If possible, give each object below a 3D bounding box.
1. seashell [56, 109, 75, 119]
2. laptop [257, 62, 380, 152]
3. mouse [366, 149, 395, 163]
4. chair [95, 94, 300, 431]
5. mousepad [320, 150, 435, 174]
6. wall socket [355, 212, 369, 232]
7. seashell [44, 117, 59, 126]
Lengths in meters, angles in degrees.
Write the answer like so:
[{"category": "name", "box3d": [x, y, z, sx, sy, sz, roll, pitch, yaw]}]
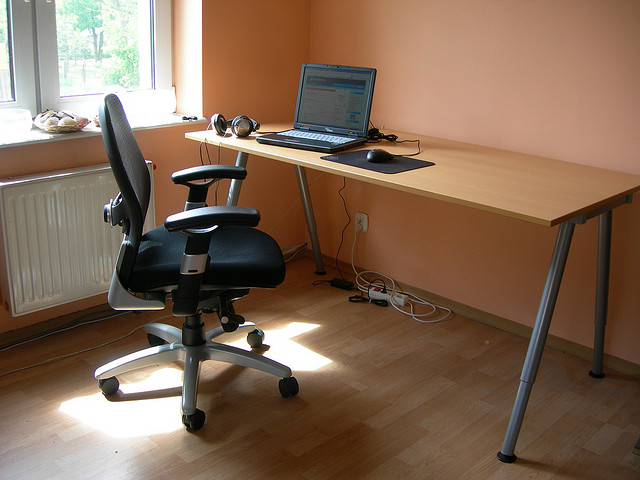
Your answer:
[{"category": "seashell", "box3d": [-1.241, -0.615, 2.422, 0.066, 0.016, 0.068, 4, 15, -16]}, {"category": "laptop", "box3d": [-0.030, -0.649, 2.423, 0.495, 0.330, 0.439, 20, 35, 39]}, {"category": "mouse", "box3d": [0.248, -0.366, 2.124, 0.097, 0.033, 0.054, -13, 29, -32]}, {"category": "chair", "box3d": [-0.475, 0.057, 2.051, 0.838, 1.105, 0.816, 8, 14, 17]}, {"category": "mousepad", "box3d": [0.246, -0.343, 2.155, 0.415, 0.024, 0.310, 16, 28, 34]}, {"category": "wall socket", "box3d": [0.262, -0.115, 3.110, 0.022, 0.137, 0.126, -1, 4, -37]}, {"category": "seashell", "box3d": [-1.266, -0.560, 2.339, 0.054, 0.030, 0.037, 5, 18, 0]}]
